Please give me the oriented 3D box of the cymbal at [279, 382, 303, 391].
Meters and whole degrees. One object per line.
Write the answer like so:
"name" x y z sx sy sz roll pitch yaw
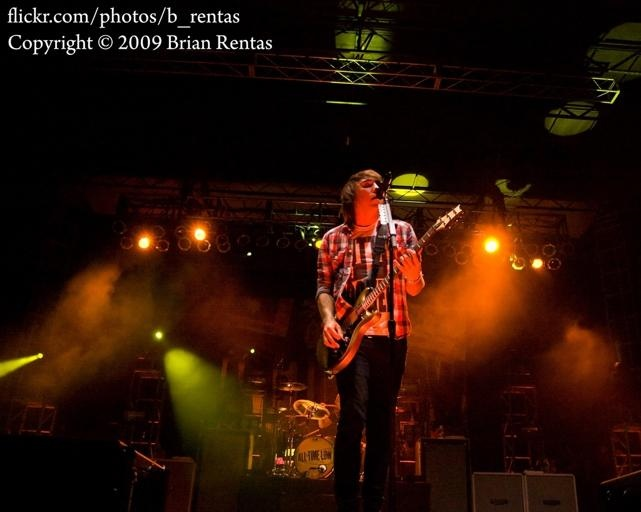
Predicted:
"cymbal" -0.562 2.586 11.710 0.492 0.211 0.583 5 -16 -7
